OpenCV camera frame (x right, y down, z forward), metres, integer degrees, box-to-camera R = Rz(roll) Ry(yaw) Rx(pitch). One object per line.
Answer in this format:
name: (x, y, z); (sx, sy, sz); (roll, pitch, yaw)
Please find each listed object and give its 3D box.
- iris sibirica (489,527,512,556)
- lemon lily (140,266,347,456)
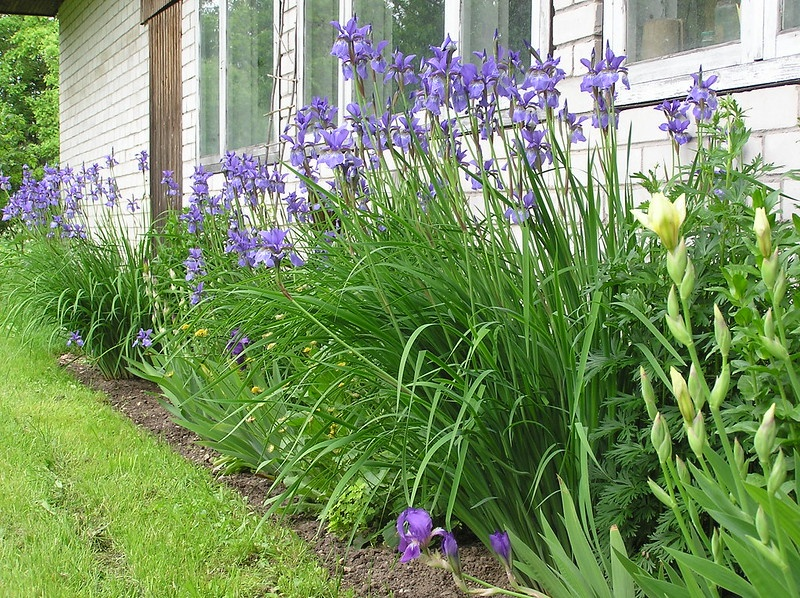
iris sibirica: (0.238, 0.566, 1.640); (0.041, 0.054, 0.086); (0, 10, 5)
lemon lily: (-0.677, 0.373, 2.844); (0.571, 0.880, 0.837); (-52, 16, -24)
